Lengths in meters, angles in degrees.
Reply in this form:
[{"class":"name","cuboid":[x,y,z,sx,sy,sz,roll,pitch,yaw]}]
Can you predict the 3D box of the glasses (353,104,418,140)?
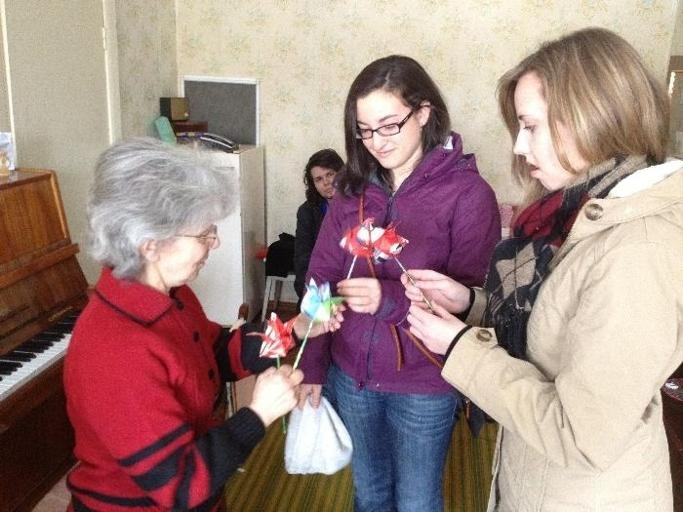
[{"class":"glasses","cuboid":[0.134,-0.412,1.801,0.121,0.040,0.130,3,42,48]}]
